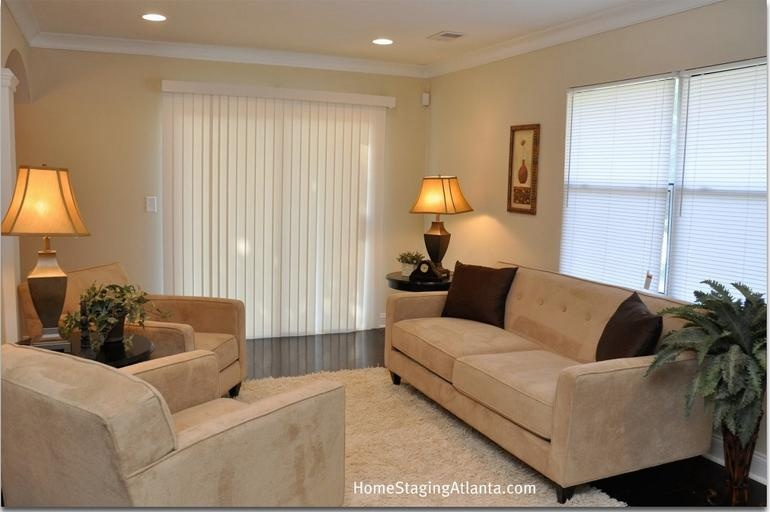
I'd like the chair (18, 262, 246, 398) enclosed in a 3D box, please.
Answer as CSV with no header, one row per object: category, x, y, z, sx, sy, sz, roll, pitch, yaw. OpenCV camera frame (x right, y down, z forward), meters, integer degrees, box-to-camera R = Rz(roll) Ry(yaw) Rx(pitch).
chair,-1.828,0.615,3.989,1.268,0.955,1.004,4,7,12

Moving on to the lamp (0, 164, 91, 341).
lamp,-2.150,-0.031,3.381,0.456,1.068,0.356,-7,16,-29

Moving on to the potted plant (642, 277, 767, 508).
potted plant,1.908,0.791,3.115,0.641,1.243,0.636,9,16,28

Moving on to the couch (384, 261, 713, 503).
couch,1.096,0.741,4.158,1.318,1.058,2.394,-1,7,-22

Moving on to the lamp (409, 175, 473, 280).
lamp,0.542,-0.312,5.285,0.668,0.881,0.659,2,6,1

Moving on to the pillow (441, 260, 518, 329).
pillow,0.797,0.314,4.561,0.609,0.491,0.278,5,4,42

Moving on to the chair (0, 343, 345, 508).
chair,-0.973,0.602,2.498,0.980,0.916,1.148,6,7,42

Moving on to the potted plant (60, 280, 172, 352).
potted plant,-1.819,0.359,3.622,0.424,0.397,0.589,7,8,43

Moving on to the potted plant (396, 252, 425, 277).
potted plant,0.269,0.060,5.409,0.249,0.246,0.259,5,7,39

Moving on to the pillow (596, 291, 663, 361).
pillow,1.577,0.463,3.417,0.216,0.361,0.399,12,4,-2
